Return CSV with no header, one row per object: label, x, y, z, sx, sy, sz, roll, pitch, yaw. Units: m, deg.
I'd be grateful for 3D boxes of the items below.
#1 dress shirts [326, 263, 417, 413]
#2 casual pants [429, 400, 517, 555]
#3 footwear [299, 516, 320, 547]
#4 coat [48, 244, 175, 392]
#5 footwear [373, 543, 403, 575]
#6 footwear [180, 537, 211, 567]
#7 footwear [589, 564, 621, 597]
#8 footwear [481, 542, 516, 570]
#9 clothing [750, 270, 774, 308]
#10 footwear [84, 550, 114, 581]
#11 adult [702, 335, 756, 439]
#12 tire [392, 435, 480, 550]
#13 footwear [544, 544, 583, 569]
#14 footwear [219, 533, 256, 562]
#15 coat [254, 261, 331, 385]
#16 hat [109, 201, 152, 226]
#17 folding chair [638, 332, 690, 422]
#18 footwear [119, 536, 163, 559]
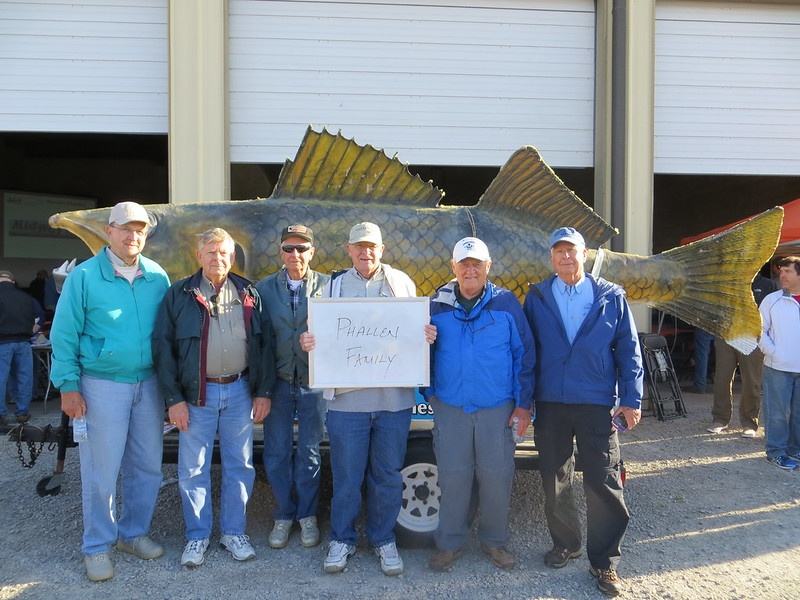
dress shirts,-0.311,0.467,9.063,1.276,2.116,0.262,0,-13,-5
casual pants,0.774,1.853,9.367,0.864,2.135,0.638,0,18,2
footwear,-0.981,2.532,9.390,0.137,0.165,0.382,0,4,-9
coat,-2.996,0.239,9.139,1.292,1.328,0.594,-6,10,-36
footwear,-0.100,2.734,9.151,0.293,0.324,0.146,0,4,1
footwear,-2.189,2.694,9.228,0.294,0.277,0.168,-1,4,-19
footwear,2.185,2.931,9.025,0.325,0.265,0.184,0,4,-5
footwear,1.067,2.721,9.246,0.169,0.200,0.356,0,2,-38
clothing,4.880,-0.114,11.597,0.331,0.413,0.206,5,-16,-1
footwear,-3.164,2.804,9.090,0.272,0.287,0.162,-2,5,-23
adult,4.684,1.098,11.983,0.597,1.660,0.480,7,32,26
tire,0.393,2.086,9.249,1.006,1.233,0.286,-3,-2,-2
footwear,1.752,2.737,9.261,0.395,0.205,0.186,-5,23,-16
footwear,-1.744,2.629,9.296,0.365,0.168,0.206,18,10,33
coat,-1.155,0.312,9.278,1.064,1.600,0.554,-1,1,-11
hat,-2.887,-0.900,9.168,0.394,0.246,0.206,-1,5,-15
folding chair,3.884,1.150,12.939,0.656,1.579,0.424,1,-4,-6
footwear,-2.793,2.638,9.323,0.408,0.196,0.222,10,5,5
